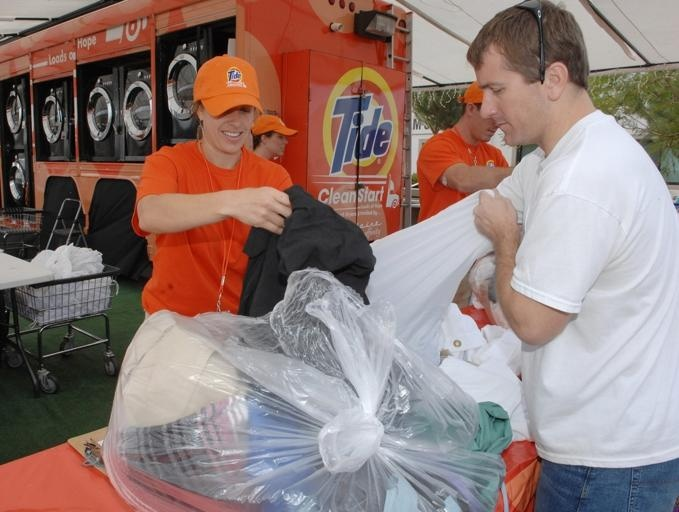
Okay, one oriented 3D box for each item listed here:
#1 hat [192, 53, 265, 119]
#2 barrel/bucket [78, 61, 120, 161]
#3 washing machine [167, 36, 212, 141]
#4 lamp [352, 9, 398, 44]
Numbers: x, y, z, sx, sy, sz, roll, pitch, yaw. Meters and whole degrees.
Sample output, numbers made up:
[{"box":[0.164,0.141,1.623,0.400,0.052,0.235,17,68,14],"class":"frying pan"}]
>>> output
[{"box":[-0.436,-0.690,2.105,0.159,0.275,0.280,-5,13,-32],"class":"hat"},{"box":[-3.134,-1.930,6.971,1.013,1.279,0.347,8,12,43],"class":"barrel/bucket"},{"box":[-1.563,-1.819,5.734,0.565,1.199,0.593,7,12,30],"class":"washing machine"},{"box":[0.381,-2.363,5.314,0.238,0.225,0.464,7,13,40],"class":"lamp"}]
